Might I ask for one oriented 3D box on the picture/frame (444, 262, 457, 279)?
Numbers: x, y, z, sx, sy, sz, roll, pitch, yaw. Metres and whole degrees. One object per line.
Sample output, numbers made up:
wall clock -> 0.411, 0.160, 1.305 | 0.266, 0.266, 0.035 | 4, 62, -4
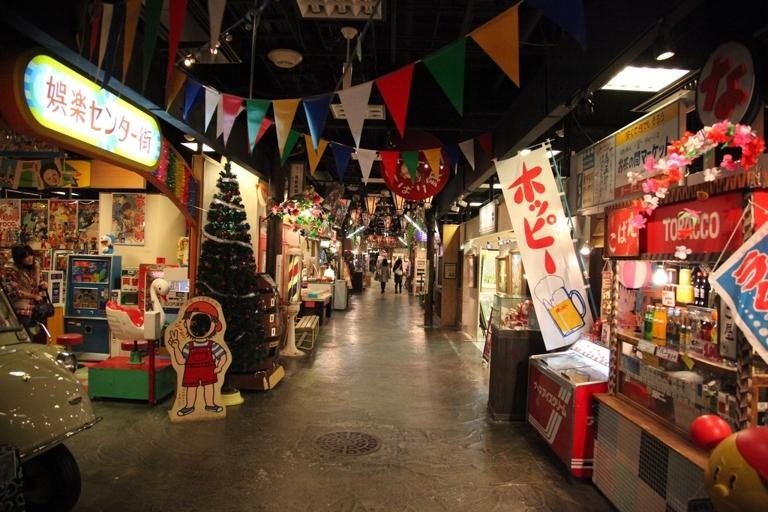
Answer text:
picture/frame -> 1.720, 0.342, 13.329 | 0.391, 0.488, 0.049 | 1, 2, -2

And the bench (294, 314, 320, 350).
bench -> -1.649, 1.565, 10.762 | 0.530, 0.759, 2.058 | 1, 10, -9

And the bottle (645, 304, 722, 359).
bottle -> 2.752, 0.647, 4.633 | 0.226, 0.417, 0.778 | -1, 10, -20

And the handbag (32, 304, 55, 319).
handbag -> -4.726, 0.763, 6.982 | 0.219, 0.222, 0.136 | -5, -3, 44

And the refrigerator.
refrigerator -> 2.080, 1.697, 5.725 | 0.465, 1.083, 1.169 | 1, 10, -7

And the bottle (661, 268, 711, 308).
bottle -> 2.909, 0.293, 4.900 | 0.392, 0.413, 0.336 | 1, 2, 26
